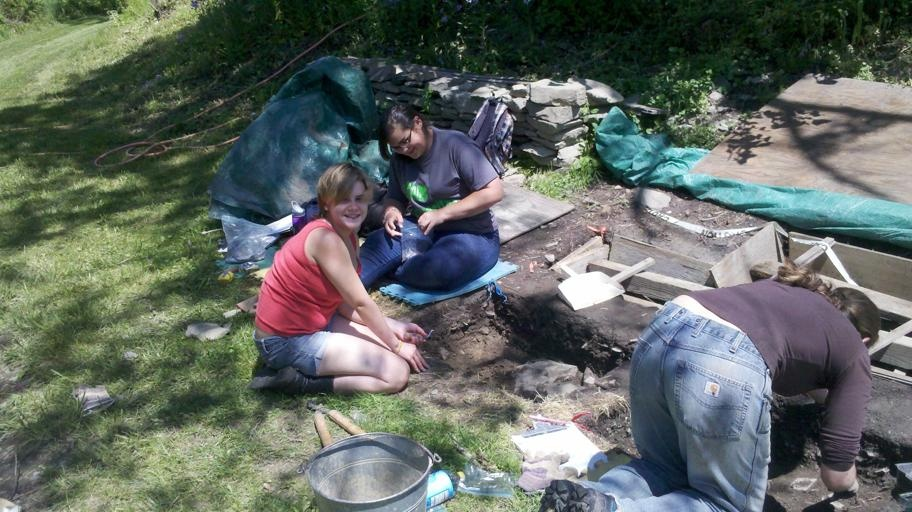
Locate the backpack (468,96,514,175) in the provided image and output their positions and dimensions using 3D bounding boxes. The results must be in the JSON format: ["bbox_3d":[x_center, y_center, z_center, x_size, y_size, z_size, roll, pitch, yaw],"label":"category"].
[{"bbox_3d":[0.543,-1.561,8.939,0.679,1.107,0.450,2,0,-34],"label":"backpack"}]

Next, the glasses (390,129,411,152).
[{"bbox_3d":[-0.664,-1.365,8.319,0.222,0.129,0.273,-4,21,13],"label":"glasses"}]
